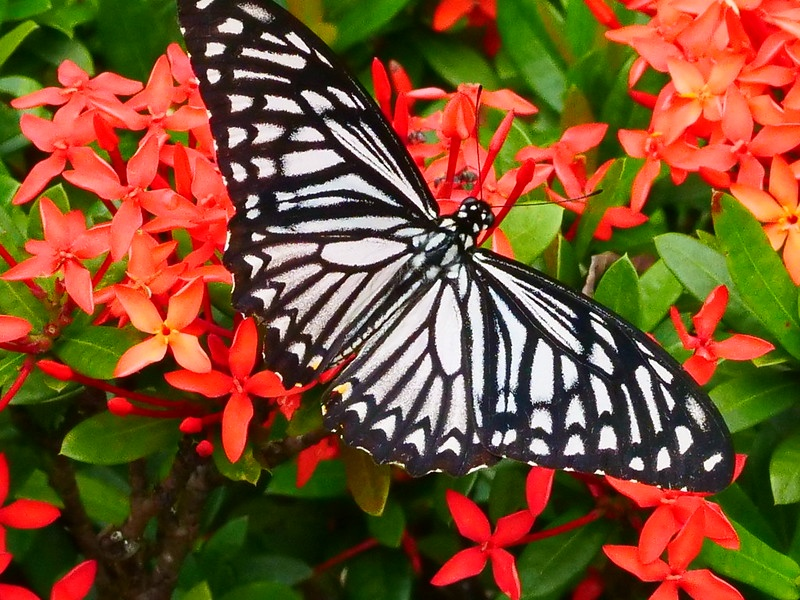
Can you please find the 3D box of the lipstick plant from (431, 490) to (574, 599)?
[{"bbox_3d":[0.144,0.431,1.768,0.148,0.189,0.151,11,74,8],"label":"lipstick plant"}]
